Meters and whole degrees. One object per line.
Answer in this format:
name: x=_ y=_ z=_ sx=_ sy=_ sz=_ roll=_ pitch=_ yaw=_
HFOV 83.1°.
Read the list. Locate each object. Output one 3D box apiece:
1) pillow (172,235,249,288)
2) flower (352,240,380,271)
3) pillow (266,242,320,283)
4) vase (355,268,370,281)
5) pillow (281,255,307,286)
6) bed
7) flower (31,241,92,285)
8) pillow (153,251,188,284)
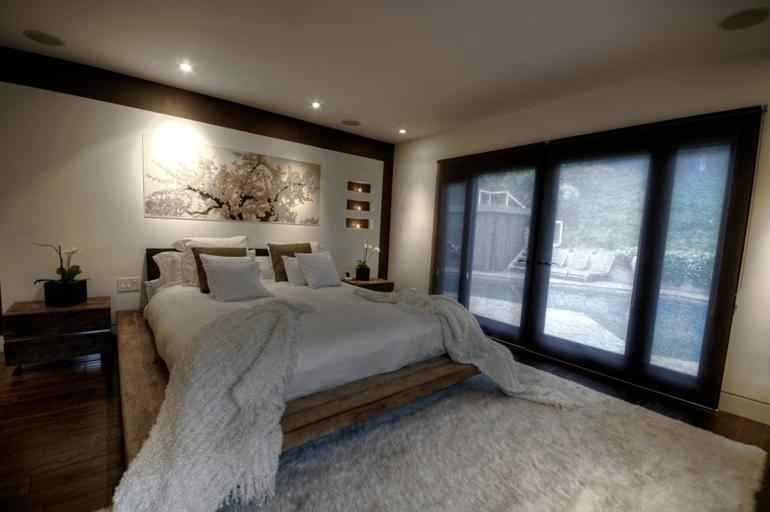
pillow: x=-2.071 y=0.053 z=5.045 sx=0.204 sy=0.666 sz=0.693 roll=-23 pitch=-19 yaw=36
flower: x=-0.248 y=0.000 z=6.853 sx=0.373 sy=0.471 sz=0.377 roll=3 pitch=-3 yaw=-26
pillow: x=-1.241 y=0.071 z=5.480 sx=0.555 sy=0.484 sz=0.162 roll=0 pitch=-14 yaw=-46
vase: x=-0.330 y=0.260 z=6.576 sx=0.194 sy=0.180 sz=0.186 roll=1 pitch=7 yaw=-5
pillow: x=-1.123 y=0.175 z=5.304 sx=0.105 sy=0.313 sz=0.336 roll=-32 pitch=-11 yaw=26
bed: x=-0.651 y=0.894 z=4.016 sx=1.860 sy=0.641 sz=1.806 roll=-2 pitch=5 yaw=-41
flower: x=-3.495 y=0.073 z=4.869 sx=0.480 sy=0.538 sz=0.492 roll=4 pitch=6 yaw=-6
pillow: x=-2.492 y=0.137 z=5.012 sx=0.382 sy=0.370 sz=0.111 roll=1 pitch=-7 yaw=-4
